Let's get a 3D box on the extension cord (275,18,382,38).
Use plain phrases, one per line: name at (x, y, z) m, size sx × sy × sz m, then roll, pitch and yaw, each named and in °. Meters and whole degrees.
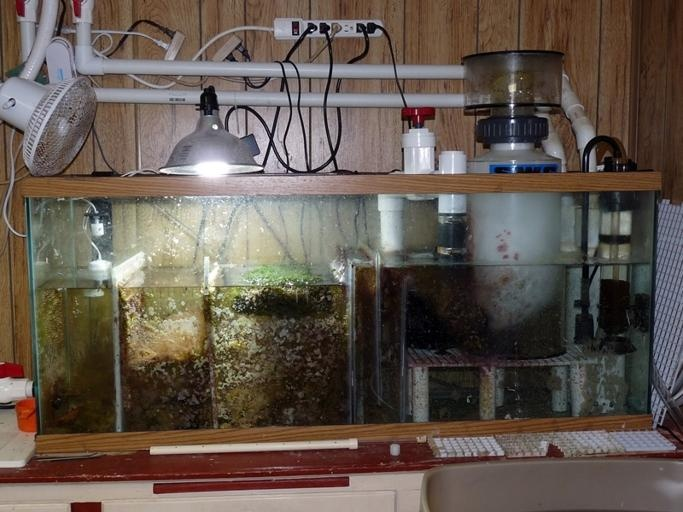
extension cord at (-0.045, -0.767, 2.711) m, size 0.375 × 0.069 × 0.045 m, roll -2°, pitch -2°, yaw -5°
